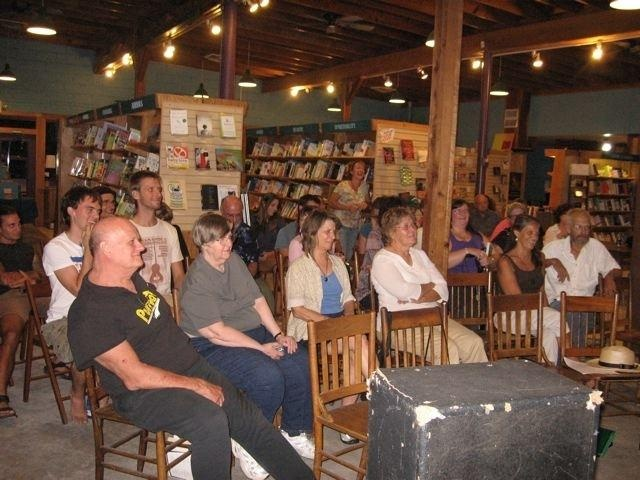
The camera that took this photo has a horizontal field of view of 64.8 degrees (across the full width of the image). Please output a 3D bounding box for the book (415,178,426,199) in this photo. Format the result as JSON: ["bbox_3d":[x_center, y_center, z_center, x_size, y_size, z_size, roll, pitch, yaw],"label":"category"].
[{"bbox_3d":[1.880,-0.965,9.433,0.183,0.387,0.470,-1,6,8],"label":"book"}]

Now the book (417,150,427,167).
[{"bbox_3d":[1.953,-1.553,9.595,0.147,0.323,0.240,0,6,19],"label":"book"}]

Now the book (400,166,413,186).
[{"bbox_3d":[1.601,-1.180,9.333,0.270,0.339,0.334,0,2,-3],"label":"book"}]

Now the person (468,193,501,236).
[{"bbox_3d":[2.705,-0.360,8.447,0.753,0.708,0.431,-5,4,-10],"label":"person"}]

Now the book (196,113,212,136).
[{"bbox_3d":[-1.420,-1.428,6.271,0.198,0.256,0.073,-5,7,-27],"label":"book"}]

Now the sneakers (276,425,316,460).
[{"bbox_3d":[-0.149,1.323,3.382,0.169,0.295,0.072,-46,7,-11],"label":"sneakers"}]

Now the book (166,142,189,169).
[{"bbox_3d":[-1.742,-1.024,6.149,0.336,0.321,0.034,-4,-11,-32],"label":"book"}]

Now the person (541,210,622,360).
[{"bbox_3d":[2.525,0.448,4.949,0.849,1.368,0.822,4,4,19],"label":"person"}]

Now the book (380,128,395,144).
[{"bbox_3d":[1.214,-1.896,9.160,0.307,0.218,0.041,-6,6,-31],"label":"book"}]

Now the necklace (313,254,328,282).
[{"bbox_3d":[0.013,0.213,3.939,0.123,0.160,0.039,-3,-5,-39],"label":"necklace"}]

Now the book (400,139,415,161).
[{"bbox_3d":[1.640,-1.669,9.353,0.348,0.387,0.134,-6,7,-35],"label":"book"}]

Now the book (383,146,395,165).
[{"bbox_3d":[1.246,-1.527,9.146,0.337,0.365,0.049,6,-12,-35],"label":"book"}]

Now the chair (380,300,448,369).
[{"bbox_3d":[0.670,0.682,3.495,0.409,0.606,0.824,0,6,13],"label":"chair"}]

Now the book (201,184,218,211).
[{"bbox_3d":[-1.385,-0.538,6.385,0.219,0.331,0.075,-3,6,-12],"label":"book"}]

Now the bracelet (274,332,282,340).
[{"bbox_3d":[-0.287,0.665,3.483,0.018,0.046,0.049,39,-5,-13],"label":"bracelet"}]
